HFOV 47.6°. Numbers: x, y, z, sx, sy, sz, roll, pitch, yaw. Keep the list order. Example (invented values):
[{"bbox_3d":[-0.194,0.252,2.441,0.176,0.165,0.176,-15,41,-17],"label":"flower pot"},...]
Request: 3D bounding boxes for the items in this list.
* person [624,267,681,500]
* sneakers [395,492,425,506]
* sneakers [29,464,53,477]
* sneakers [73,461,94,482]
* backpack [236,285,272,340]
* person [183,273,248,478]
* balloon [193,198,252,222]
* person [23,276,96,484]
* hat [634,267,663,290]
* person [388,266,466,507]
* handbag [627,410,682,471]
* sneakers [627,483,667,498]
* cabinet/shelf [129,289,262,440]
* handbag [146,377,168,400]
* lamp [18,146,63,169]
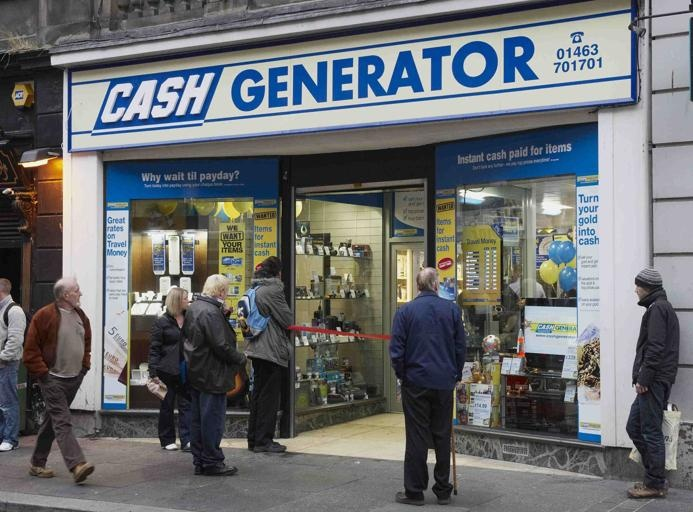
[{"bbox_3d":[3.152,1.277,8.049,0.526,2.272,0.493,0,3,11],"label":"person"},{"bbox_3d":[0.628,2.385,7.796,0.255,0.109,0.114,5,0,18],"label":"sneakers"},{"bbox_3d":[-3.362,2.363,8.717,0.282,0.142,0.113,1,-1,8],"label":"sneakers"},{"bbox_3d":[-2.780,2.268,8.260,0.224,0.213,0.082,0,3,7],"label":"sneakers"},{"bbox_3d":[-1.176,0.707,9.882,0.352,0.637,0.418,-2,0,-36],"label":"backpack"},{"bbox_3d":[-1.478,1.314,8.707,0.635,2.183,0.390,-1,3,-10],"label":"person"},{"bbox_3d":[-1.724,-0.635,10.920,0.908,0.308,0.147,1,4,27],"label":"balloon"},{"bbox_3d":[-3.126,1.332,8.501,0.738,2.171,0.785,-1,3,-11],"label":"person"},{"bbox_3d":[3.150,0.218,8.138,0.209,0.186,0.214,-2,4,6],"label":"hat"},{"bbox_3d":[0.828,1.423,7.920,0.749,2.016,0.472,0,3,6],"label":"person"},{"bbox_3d":[3.205,1.865,8.078,0.388,0.692,0.603,-2,4,-12],"label":"handbag"},{"bbox_3d":[3.073,2.380,7.996,0.350,0.169,0.159,4,-3,8],"label":"sneakers"},{"bbox_3d":[-1.504,1.356,9.370,0.931,2.106,0.700,2,2,-24],"label":"cabinet/shelf"},{"bbox_3d":[-2.319,1.652,9.630,0.324,0.161,0.252,33,-1,-33],"label":"handbag"},{"bbox_3d":[-4.400,-1.395,11.122,0.541,0.277,0.460,0,3,17],"label":"lamp"}]
